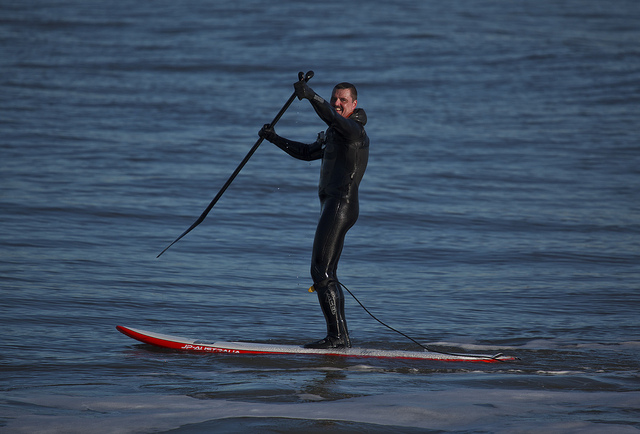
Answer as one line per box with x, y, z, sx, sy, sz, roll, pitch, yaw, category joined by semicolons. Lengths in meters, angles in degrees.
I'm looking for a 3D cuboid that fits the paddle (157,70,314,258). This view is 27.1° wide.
-1.819;-1.043;28.513;0.559;6.242;0.759;51;-6;-39;paddle
